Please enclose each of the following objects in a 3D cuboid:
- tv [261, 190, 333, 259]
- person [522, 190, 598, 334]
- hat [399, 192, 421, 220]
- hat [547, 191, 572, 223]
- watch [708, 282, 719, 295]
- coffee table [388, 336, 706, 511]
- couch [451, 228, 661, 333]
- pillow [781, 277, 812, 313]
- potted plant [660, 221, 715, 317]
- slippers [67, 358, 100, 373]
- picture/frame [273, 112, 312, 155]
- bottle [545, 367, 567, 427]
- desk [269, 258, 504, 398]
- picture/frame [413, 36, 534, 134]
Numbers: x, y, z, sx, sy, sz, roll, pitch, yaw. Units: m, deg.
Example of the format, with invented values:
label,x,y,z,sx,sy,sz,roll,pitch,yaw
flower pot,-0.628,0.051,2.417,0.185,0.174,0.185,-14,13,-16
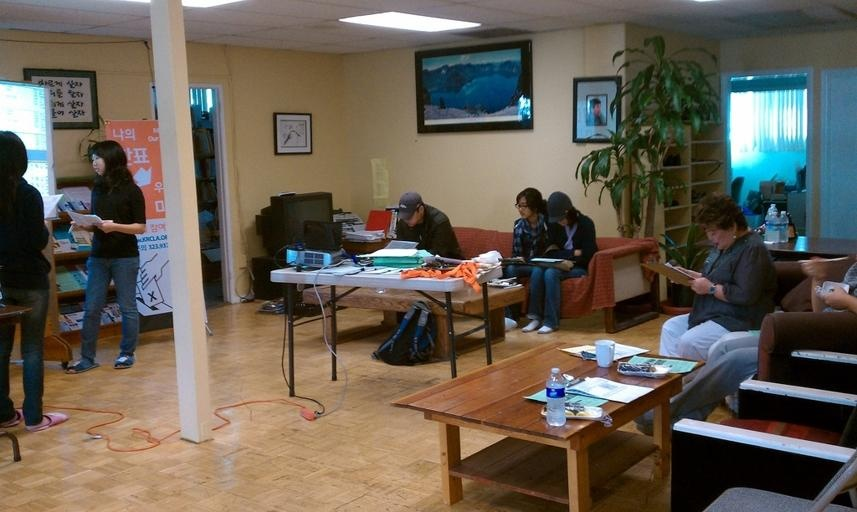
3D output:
label,x,y,z,sx,sy,sz,roll,pitch,yaw
tv,-2.099,-0.466,9.011,0.646,0.685,0.939,0,6,29
person,1.607,0.064,7.184,0.762,1.616,0.778,3,16,21
hat,-0.225,-0.565,6.690,0.223,0.181,0.318,7,42,31
hat,1.600,-0.597,7.219,0.316,0.341,0.203,-1,15,8
watch,2.386,0.272,4.977,0.065,0.091,0.096,6,-26,33
coffee table,0.672,1.143,3.995,1.198,0.576,1.436,7,13,39
couch,1.179,0.486,8.364,3.577,0.933,1.685,-6,2,36
pillow,3.124,0.322,5.023,0.134,0.229,0.194,32,38,-17
potted plant,3.349,0.187,7.647,0.795,0.855,0.736,3,8,33
slippers,-3.731,1.183,6.449,0.298,0.101,0.123,2,1,-38
picture/frame,-2.167,-1.930,9.391,0.803,0.695,0.074,-4,6,-42
bottle,0.780,0.829,3.656,0.123,0.315,0.283,0,15,12
desk,-0.394,0.658,5.813,1.967,1.049,1.066,0,5,26
picture/frame,0.668,-2.442,8.812,2.221,1.248,0.049,13,24,43
